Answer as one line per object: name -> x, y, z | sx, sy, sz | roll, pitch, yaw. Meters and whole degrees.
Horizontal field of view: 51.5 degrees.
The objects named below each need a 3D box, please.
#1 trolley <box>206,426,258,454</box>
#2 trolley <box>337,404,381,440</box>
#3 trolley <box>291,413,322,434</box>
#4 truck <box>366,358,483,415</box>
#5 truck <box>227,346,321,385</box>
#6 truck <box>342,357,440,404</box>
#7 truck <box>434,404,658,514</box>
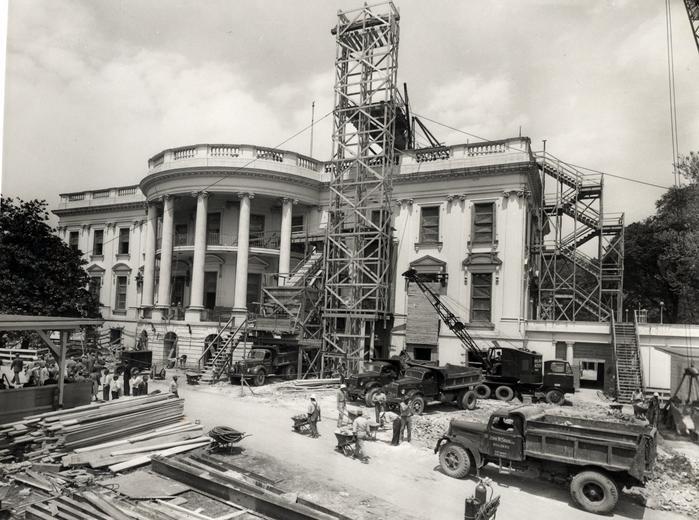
trolley -> -5.434, 7.879, 31.859 | 1.436, 1.108, 0.987 | 3, -10, -7
trolley -> 0.506, 7.518, 33.310 | 1.121, 0.897, 2.415 | 3, -20, -10
trolley -> -2.227, 7.839, 34.690 | 1.366, 0.659, 0.667 | 1, -4, 45
truck -> 4.304, 6.975, 39.478 | 6.492, 2.577, 2.949 | 3, -5, -42
truck -> -5.338, 6.802, 47.558 | 2.432, 2.345, 6.551 | -4, -4, 27
truck -> 1.864, 6.715, 40.999 | 4.348, 2.166, 2.456 | -3, 3, -43
truck -> 8.121, 8.491, 30.425 | 8.339, 3.443, 4.120 | 3, -1, 25
